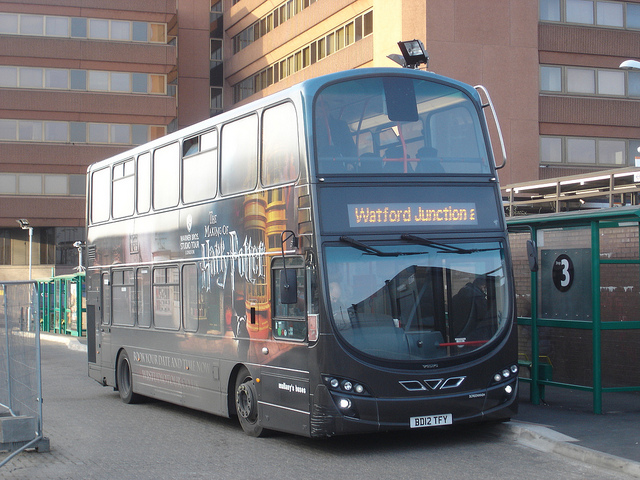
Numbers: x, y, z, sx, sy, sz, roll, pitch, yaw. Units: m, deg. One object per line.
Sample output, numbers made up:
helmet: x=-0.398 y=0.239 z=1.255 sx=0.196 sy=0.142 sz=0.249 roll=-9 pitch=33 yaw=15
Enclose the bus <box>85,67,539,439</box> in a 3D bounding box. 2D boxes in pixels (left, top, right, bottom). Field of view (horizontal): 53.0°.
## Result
bus: x=-0.979 y=0.586 z=13.340 sx=4.224 sy=6.204 sz=10.970 roll=1 pitch=-4 yaw=-29
